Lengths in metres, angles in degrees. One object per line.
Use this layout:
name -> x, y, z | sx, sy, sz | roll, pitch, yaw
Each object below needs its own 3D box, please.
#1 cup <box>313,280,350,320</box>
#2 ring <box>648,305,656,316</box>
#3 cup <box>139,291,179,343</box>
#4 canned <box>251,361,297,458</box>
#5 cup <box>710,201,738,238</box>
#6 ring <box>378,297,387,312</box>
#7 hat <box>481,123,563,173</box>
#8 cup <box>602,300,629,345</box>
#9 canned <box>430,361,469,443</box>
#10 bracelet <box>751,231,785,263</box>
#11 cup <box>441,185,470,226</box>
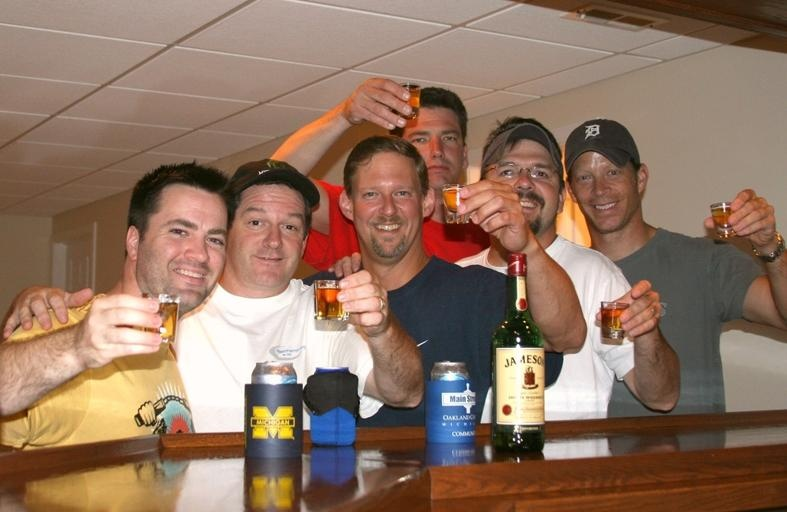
cup -> -0.196, 0.131, 1.755 | 0.126, 0.118, 0.116 | 1, -1, 0
ring -> 0.884, 0.186, 2.006 | 0.027, 0.011, 0.037 | 41, 27, 29
cup -> -0.636, 0.172, 1.627 | 0.078, 0.127, 0.263 | -1, -9, -11
canned -> -0.311, 0.391, 1.515 | 0.142, 0.238, 0.073 | -1, -10, -11
cup -> 1.397, -0.156, 2.504 | 0.076, 0.135, 0.170 | -8, -11, 28
ring -> -0.032, 0.139, 1.731 | 0.016, 0.038, 0.031 | -24, 12, -28
hat -> 0.573, -0.537, 2.759 | 0.267, 0.291, 0.123 | 8, 16, -1
cup -> 0.746, 0.213, 1.986 | 0.094, 0.123, 0.068 | -3, -10, 5
canned -> 0.156, 0.405, 1.641 | 0.136, 0.221, 0.069 | -3, -10, 2
bracelet -> 1.642, -0.041, 2.622 | 0.067, 0.134, 0.155 | 40, 1, 37
cup -> 0.217, -0.205, 2.264 | 0.138, 0.137, 0.136 | 0, -2, 0
